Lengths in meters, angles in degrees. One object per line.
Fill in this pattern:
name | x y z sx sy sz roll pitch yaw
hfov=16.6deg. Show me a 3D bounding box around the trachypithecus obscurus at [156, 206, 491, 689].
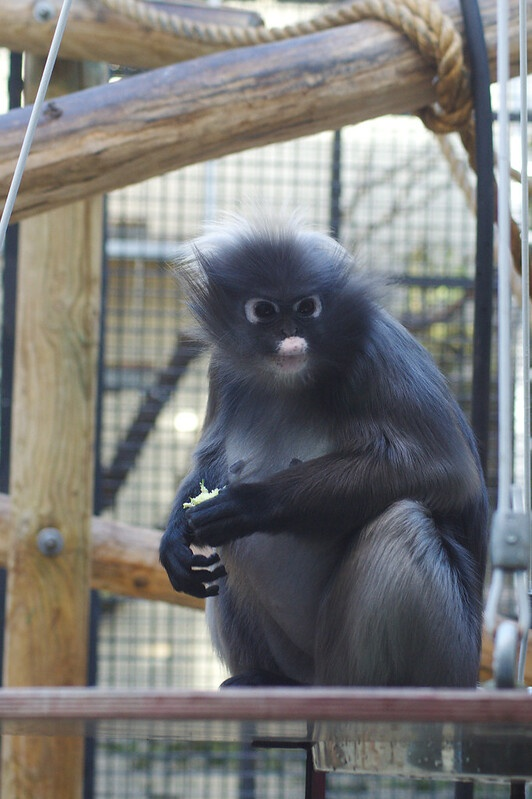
trachypithecus obscurus | 0.091 0.118 2.501 0.397 0.624 0.425 9 -11 15
